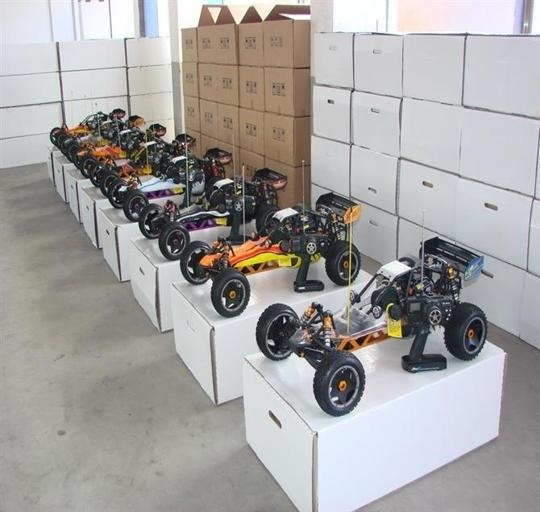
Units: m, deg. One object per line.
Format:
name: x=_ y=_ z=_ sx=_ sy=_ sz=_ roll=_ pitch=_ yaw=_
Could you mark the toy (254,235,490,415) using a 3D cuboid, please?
toy: x=0.419 y=0.220 z=1.732 sx=0.808 sy=0.473 sz=0.533 roll=-11 pitch=19 yaw=-23
